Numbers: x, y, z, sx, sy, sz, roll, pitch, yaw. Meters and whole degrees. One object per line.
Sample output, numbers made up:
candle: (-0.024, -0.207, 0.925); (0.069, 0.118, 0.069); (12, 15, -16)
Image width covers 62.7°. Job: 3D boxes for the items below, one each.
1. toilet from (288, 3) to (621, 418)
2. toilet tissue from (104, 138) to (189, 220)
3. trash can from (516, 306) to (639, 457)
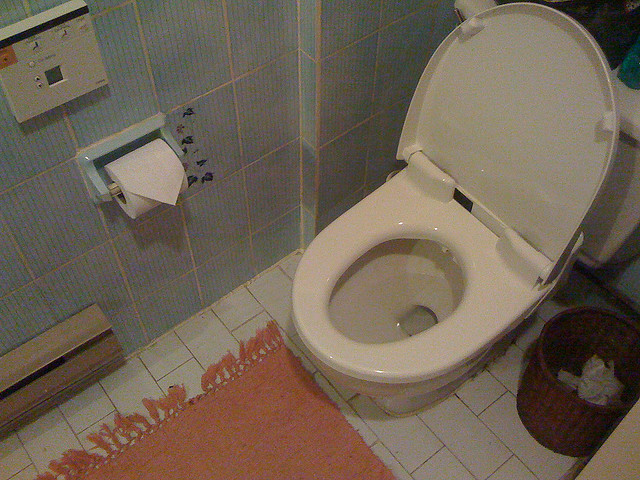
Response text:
toilet: (0.332, -0.073, 1.308); (0.652, 0.906, 0.481); (-38, 70, -9)
toilet tissue: (-0.400, -0.135, 1.272); (0.169, 0.156, 0.180); (-33, 80, -36)
trash can: (0.707, 0.396, 1.429); (0.298, 0.311, 0.260); (-19, 58, 8)
